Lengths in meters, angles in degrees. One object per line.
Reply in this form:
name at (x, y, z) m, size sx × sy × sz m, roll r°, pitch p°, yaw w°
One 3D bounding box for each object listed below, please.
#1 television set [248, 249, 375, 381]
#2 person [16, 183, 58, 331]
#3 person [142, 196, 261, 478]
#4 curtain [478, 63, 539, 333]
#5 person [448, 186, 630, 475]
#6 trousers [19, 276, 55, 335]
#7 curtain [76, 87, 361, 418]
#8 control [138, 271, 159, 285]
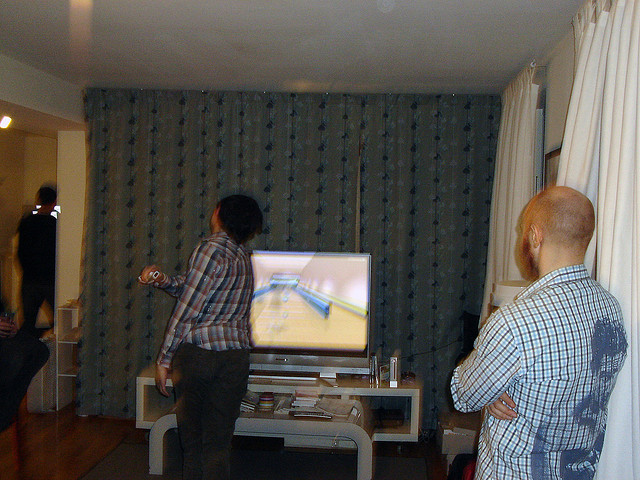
television set at (-0.044, 0.594, 4.394) m, size 0.889 × 0.875 × 0.300 m, roll 1°, pitch -4°, yaw 6°
person at (-2.338, 0.189, 4.851) m, size 0.219 × 1.254 × 0.775 m, roll -2°, pitch 11°, yaw -12°
person at (-0.677, 0.572, 3.614) m, size 0.474 × 1.663 × 0.542 m, roll 6°, pitch 12°, yaw 25°
curtain at (1.470, -0.378, 4.784) m, size 0.135 × 1.854 × 0.704 m, roll 15°, pitch 30°, yaw 12°
person at (1.014, 0.481, 2.693) m, size 0.765 × 1.429 × 0.396 m, roll 4°, pitch 11°, yaw 15°
trousers at (-2.271, 0.488, 4.916) m, size 0.049 × 0.441 × 0.494 m, roll 0°, pitch -1°, yaw 37°
curtain at (-0.692, 0.015, 4.548) m, size 2.586 × 2.866 × 0.182 m, roll 1°, pitch -2°, yaw 3°
control at (-1.047, 0.251, 3.578) m, size 0.082 × 0.042 × 0.114 m, roll 9°, pitch 20°, yaw 41°
